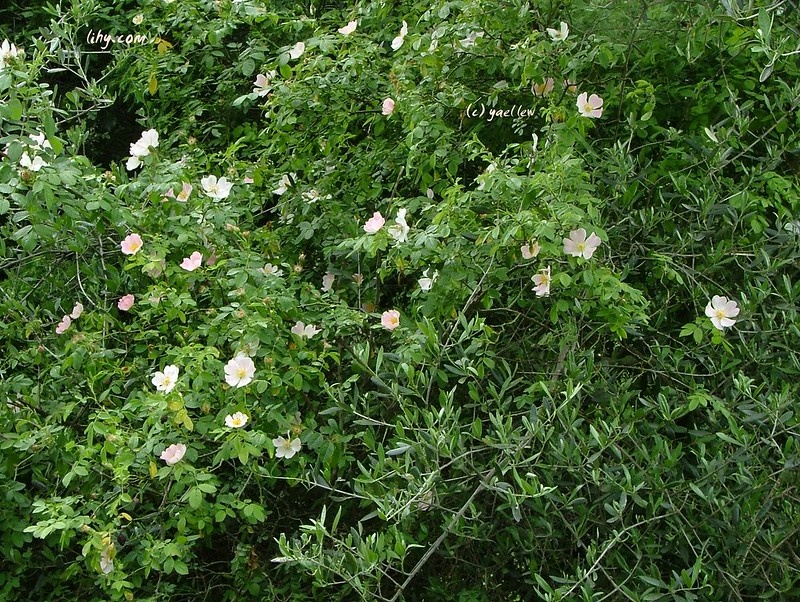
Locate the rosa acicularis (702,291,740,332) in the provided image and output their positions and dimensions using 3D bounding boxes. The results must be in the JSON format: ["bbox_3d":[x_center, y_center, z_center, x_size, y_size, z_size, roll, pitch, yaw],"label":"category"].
[{"bbox_3d":[1.143,0.046,2.866,0.112,0.100,0.089,-34,36,-2],"label":"rosa acicularis"}]
